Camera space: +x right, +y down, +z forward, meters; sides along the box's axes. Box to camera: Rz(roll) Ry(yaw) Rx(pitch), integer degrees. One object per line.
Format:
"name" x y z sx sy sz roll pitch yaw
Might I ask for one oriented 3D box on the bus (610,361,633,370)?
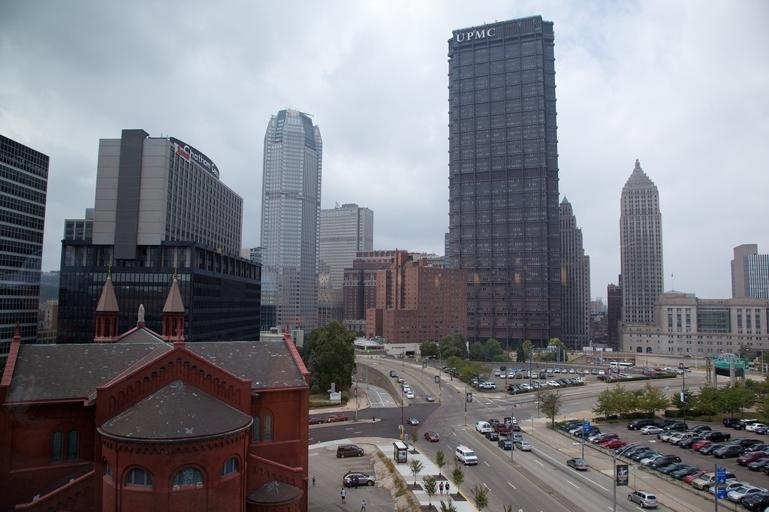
"bus" 71.763 33.403 215.894 3.991 2.337 5.951 4 -5 -40

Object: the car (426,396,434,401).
"car" 10.632 33.454 166.906 2.118 1.182 1.536 -1 -9 17

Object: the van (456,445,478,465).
"van" 14.432 35.133 125.151 2.177 1.817 3.730 3 -17 -13

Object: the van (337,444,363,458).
"van" -6.281 35.331 128.203 3.606 1.631 2.200 -7 -3 -3

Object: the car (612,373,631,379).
"car" 63.676 32.311 191.619 3.253 0.861 1.972 -2 2 -22

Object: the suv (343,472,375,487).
"suv" -4.359 37.067 117.913 4.198 1.867 2.312 -1 -1 -6

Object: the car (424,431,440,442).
"car" 9.218 34.913 137.201 2.777 1.727 3.103 1 -8 5
